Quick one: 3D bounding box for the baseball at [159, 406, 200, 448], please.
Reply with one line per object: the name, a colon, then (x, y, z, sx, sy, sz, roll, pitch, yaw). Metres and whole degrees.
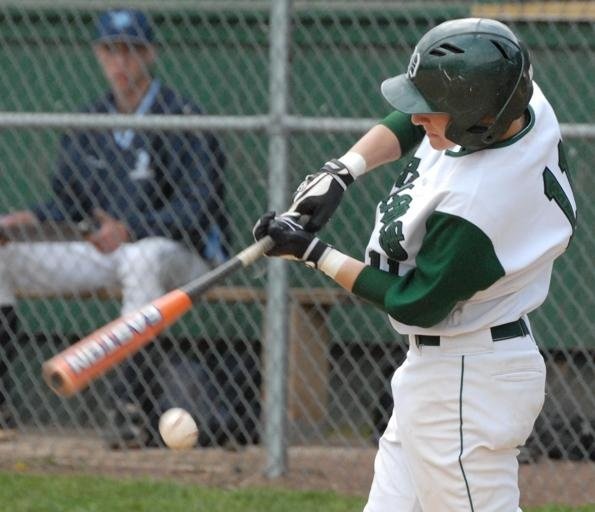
baseball: (-0.440, 0.652, 3.676, 0.118, 0.155, 0.089, -39, -13, 16)

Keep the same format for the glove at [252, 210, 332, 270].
glove: (-0.020, -0.051, 3.354, 0.222, 0.097, 0.177, 25, -16, 1)

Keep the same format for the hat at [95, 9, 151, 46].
hat: (-0.783, -1.033, 4.409, 0.264, 0.154, 0.083, -5, 14, -10)

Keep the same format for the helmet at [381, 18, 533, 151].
helmet: (0.529, -0.597, 3.249, 0.515, 0.369, 0.366, -6, 32, -1)

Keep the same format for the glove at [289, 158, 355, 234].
glove: (0.089, -0.200, 3.556, 0.266, 0.193, 0.084, -46, -12, -18)

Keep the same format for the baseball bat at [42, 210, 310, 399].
baseball bat: (-0.359, 0.132, 3.316, 1.085, 0.125, 0.126, -34, 40, -28)
